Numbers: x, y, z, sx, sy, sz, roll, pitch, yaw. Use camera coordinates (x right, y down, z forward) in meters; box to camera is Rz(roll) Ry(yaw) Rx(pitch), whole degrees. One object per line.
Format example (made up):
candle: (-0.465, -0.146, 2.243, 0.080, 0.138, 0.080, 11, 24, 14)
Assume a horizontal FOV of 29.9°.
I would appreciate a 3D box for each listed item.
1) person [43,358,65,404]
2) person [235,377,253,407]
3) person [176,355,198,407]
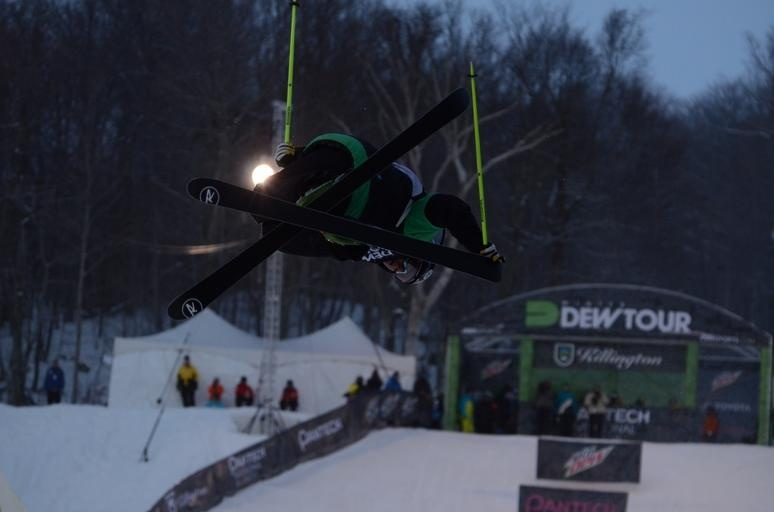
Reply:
person: (-8.472, 3.206, 36.802, 0.464, 1.144, 0.180, 2, -5, 9)
person: (-3.543, 3.402, 36.042, 0.453, 0.721, 0.161, 3, -5, -6)
person: (-5.013, 3.157, 36.257, 0.493, 1.272, 0.232, 2, -5, 9)
